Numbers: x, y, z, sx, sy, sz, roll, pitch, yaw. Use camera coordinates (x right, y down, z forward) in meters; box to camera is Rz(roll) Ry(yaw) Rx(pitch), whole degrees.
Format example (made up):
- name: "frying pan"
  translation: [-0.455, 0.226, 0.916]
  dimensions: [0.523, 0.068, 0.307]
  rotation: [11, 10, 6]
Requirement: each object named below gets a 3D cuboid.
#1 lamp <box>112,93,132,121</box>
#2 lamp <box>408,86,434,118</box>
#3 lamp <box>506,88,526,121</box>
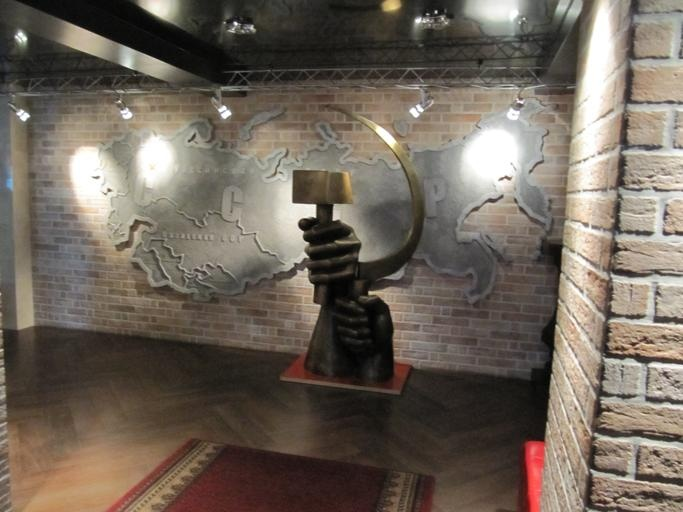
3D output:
- name: "lamp"
  translation: [-2.431, -1.662, 5.726]
  dimensions: [0.146, 0.140, 0.328]
  rotation: [-34, -19, -13]
- name: "lamp"
  translation: [0.761, -1.469, 4.976]
  dimensions: [0.247, 0.276, 0.467]
  rotation: [3, 12, 7]
- name: "lamp"
  translation: [1.625, -1.420, 4.827]
  dimensions: [0.163, 0.300, 0.368]
  rotation: [5, 13, 17]
